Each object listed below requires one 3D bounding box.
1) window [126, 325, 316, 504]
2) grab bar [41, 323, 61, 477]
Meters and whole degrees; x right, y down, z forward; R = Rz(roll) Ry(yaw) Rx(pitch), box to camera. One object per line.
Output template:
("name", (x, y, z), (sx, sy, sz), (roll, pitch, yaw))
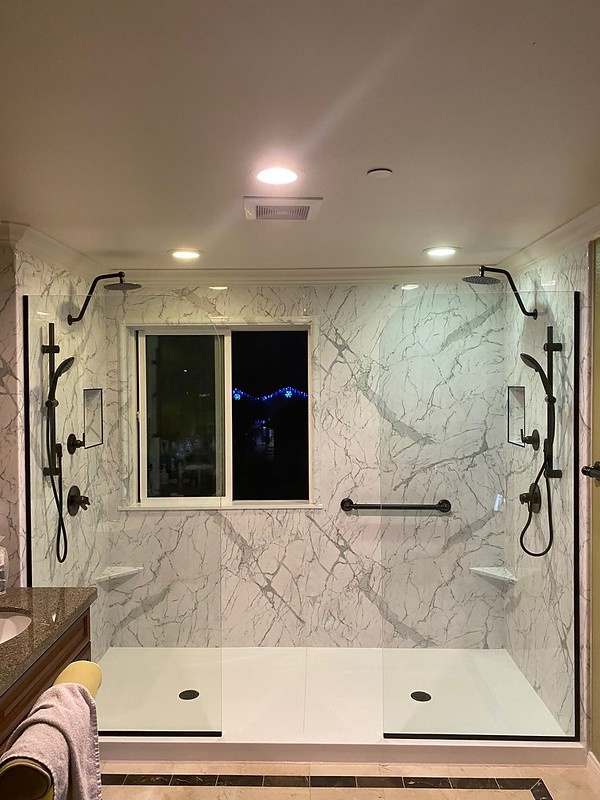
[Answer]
("window", (-0.366, 0.036, 2.955), (0.836, 0.969, 0.073), (-1, 0, -6))
("grab bar", (-1.001, 0.003, 2.447), (0.074, 0.620, 0.034), (-3, 4, -28))
